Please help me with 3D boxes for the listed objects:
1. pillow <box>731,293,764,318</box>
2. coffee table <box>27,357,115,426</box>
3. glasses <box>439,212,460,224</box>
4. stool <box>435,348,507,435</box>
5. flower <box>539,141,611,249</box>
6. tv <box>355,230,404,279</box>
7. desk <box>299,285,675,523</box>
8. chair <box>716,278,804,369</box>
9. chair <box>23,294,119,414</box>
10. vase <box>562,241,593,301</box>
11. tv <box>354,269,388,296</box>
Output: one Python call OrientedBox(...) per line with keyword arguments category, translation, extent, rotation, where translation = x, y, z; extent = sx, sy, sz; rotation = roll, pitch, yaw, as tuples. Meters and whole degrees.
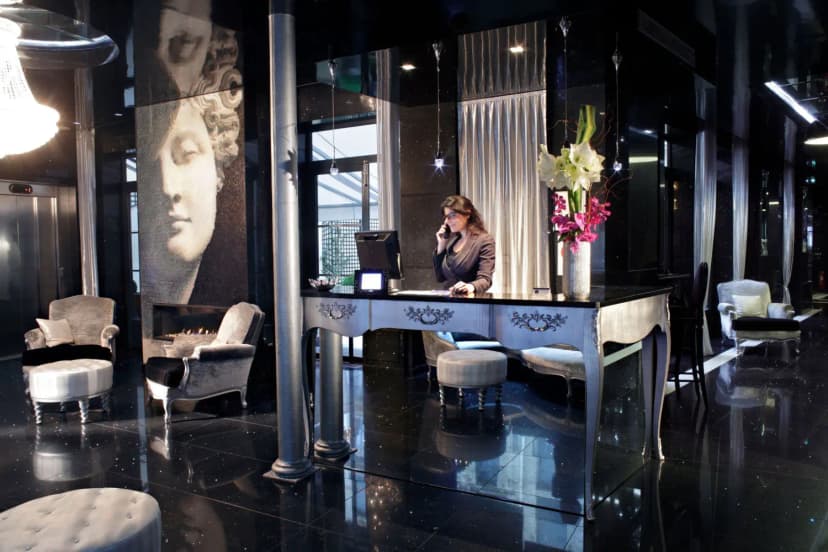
OrientedBox(category="pillow", translation=(5.727, 0.527, 11.854), extent=(0.371, 0.353, 0.139), rotation=(0, -24, 11))
OrientedBox(category="coffee table", translation=(-4.413, 1.471, 8.923), extent=(0.946, 0.706, 0.958), rotation=(5, 8, 25))
OrientedBox(category="glasses", translation=(0.385, -0.640, 7.798), extent=(0.171, 0.136, 0.268), rotation=(-1, 0, -23))
OrientedBox(category="stool", translation=(0.737, 1.371, 8.501), extent=(0.859, 0.849, 0.821), rotation=(-1, 1, -28))
OrientedBox(category="flower", translation=(1.544, -0.755, 6.706), extent=(0.677, 1.033, 0.428), rotation=(-1, 1, 5))
OrientedBox(category="tv", translation=(-0.358, -0.218, 7.079), extent=(0.478, 0.479, 0.222), rotation=(-1, 1, -5))
OrientedBox(category="desk", translation=(0.791, 1.217, 7.436), extent=(3.828, 2.150, 2.098), rotation=(-1, 1, 7))
OrientedBox(category="chair", translation=(5.780, 0.719, 11.706), extent=(1.263, 1.261, 1.516), rotation=(0, 1, 33))
OrientedBox(category="chair", translation=(-4.685, 1.121, 9.501), extent=(1.103, 1.562, 1.351), rotation=(2, 9, -14))
OrientedBox(category="vase", translation=(1.556, -0.048, 6.600), extent=(0.239, 0.536, 0.331), rotation=(0, 1, 10))
OrientedBox(category="tv", translation=(-0.439, 0.070, 7.035), extent=(0.372, 0.264, 0.229), rotation=(-1, -5, 16))
